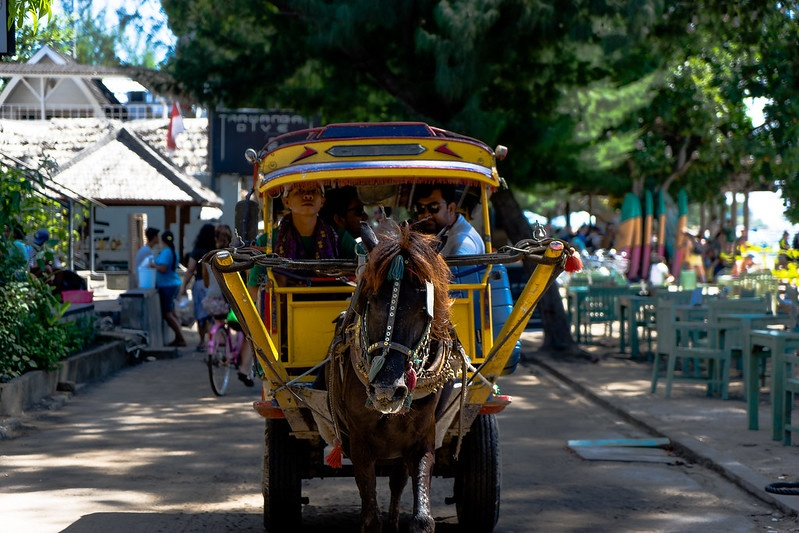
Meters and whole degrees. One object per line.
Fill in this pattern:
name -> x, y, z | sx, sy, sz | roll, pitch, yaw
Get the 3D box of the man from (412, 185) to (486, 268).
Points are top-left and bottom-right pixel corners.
man -> 0.683, -0.610, 17.808 | 0.991, 1.143, 1.209 | -2, 6, -25

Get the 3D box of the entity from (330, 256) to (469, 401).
entity -> -0.039, 0.829, 15.796 | 1.655, 1.953, 0.877 | 0, -2, -2

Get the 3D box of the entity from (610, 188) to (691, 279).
entity -> 6.865, -1.022, 34.663 | 1.696, 2.814, 0.656 | 1, 1, -20

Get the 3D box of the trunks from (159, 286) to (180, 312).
trunks -> -4.895, 0.683, 26.855 | 0.414, 0.671, 0.385 | 5, 17, -2

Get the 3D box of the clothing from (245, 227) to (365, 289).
clothing -> -1.255, 0.197, 17.639 | 1.477, 0.986, 0.801 | -2, -32, 0

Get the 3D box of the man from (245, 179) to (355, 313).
man -> -1.401, 0.100, 18.081 | 0.824, 1.416, 2.817 | -11, -29, -20

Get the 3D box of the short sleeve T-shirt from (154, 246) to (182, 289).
short sleeve T-shirt -> -4.936, 0.066, 27.082 | 0.635, 0.890, 0.782 | -1, -7, -4

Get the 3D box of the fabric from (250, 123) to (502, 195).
fabric -> -0.417, -1.517, 18.537 | 3.870, 0.990, 3.501 | -2, -2, -22

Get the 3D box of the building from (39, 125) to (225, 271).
building -> -8.241, -2.654, 36.753 | 4.770, 2.733, 4.117 | 1, 26, -13
